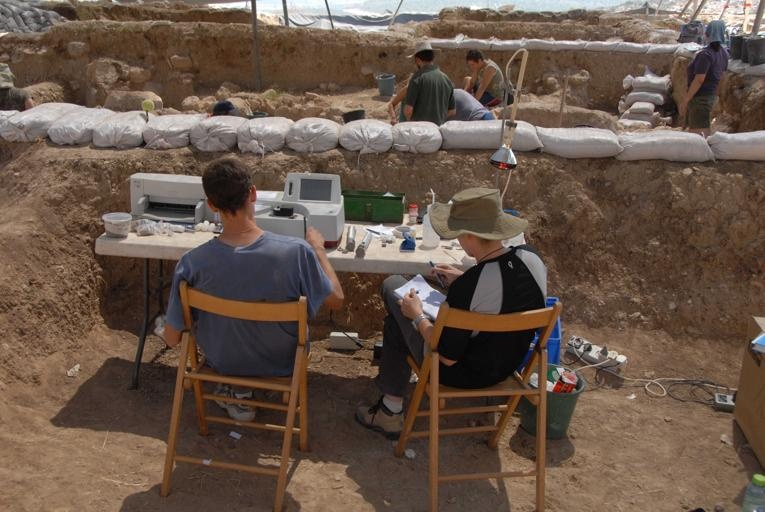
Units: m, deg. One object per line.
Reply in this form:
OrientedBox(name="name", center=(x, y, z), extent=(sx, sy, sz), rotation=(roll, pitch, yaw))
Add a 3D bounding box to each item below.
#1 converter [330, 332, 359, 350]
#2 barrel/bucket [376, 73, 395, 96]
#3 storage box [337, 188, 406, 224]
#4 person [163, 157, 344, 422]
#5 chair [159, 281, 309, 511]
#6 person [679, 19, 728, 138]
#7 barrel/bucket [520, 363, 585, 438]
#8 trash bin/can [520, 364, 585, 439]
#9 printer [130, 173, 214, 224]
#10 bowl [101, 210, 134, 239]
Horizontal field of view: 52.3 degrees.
OrientedBox(name="converter", center=(-0.460, 1.001, 8.973), extent=(0.350, 0.173, 0.186), rotation=(5, 30, 2))
OrientedBox(name="barrel/bucket", center=(0.003, -3.438, 15.458), extent=(0.428, 0.387, 0.368), rotation=(11, 30, 14))
OrientedBox(name="storage box", center=(-0.086, -0.596, 8.623), extent=(0.597, 0.275, 0.346), rotation=(4, 26, 6))
OrientedBox(name="person", center=(-1.247, 0.446, 7.405), extent=(1.496, 2.584, 0.743), rotation=(6, 28, 2))
OrientedBox(name="chair", center=(-1.318, 1.173, 7.367), extent=(0.988, 2.140, 1.391), rotation=(1, 15, -1))
OrientedBox(name="person", center=(4.535, -2.492, 11.016), extent=(0.507, 1.596, 0.758), rotation=(15, 29, 19))
OrientedBox(name="barrel/bucket", center=(1.664, 1.441, 8.105), extent=(0.673, 0.645, 0.658), rotation=(2, 18, -1))
OrientedBox(name="trash bin/can", center=(1.759, 1.491, 7.890), extent=(0.587, 0.677, 0.549), rotation=(0, -5, -28))
OrientedBox(name="printer", center=(-2.263, -0.625, 8.257), extent=(0.995, 0.490, 0.516), rotation=(5, 28, 1))
OrientedBox(name="bowl", center=(-2.726, -0.323, 8.076), extent=(0.264, 0.191, 0.266), rotation=(2, 5, 0))
